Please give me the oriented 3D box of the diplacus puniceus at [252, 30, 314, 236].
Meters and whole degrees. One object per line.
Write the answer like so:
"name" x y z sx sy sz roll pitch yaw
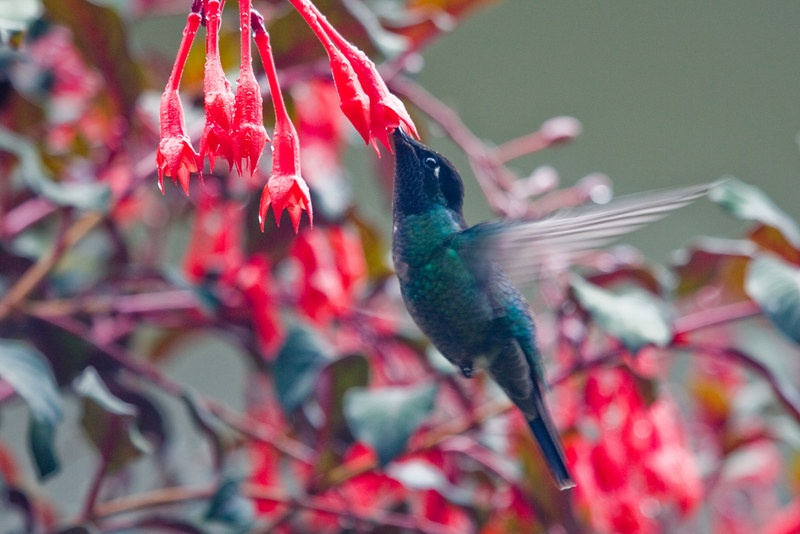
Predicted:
"diplacus puniceus" -0.149 -0.177 1.652 0.061 0.236 0.064 -7 7 -19

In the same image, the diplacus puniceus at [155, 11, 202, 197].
"diplacus puniceus" -0.265 -0.193 1.650 0.051 0.220 0.044 -6 11 -10
